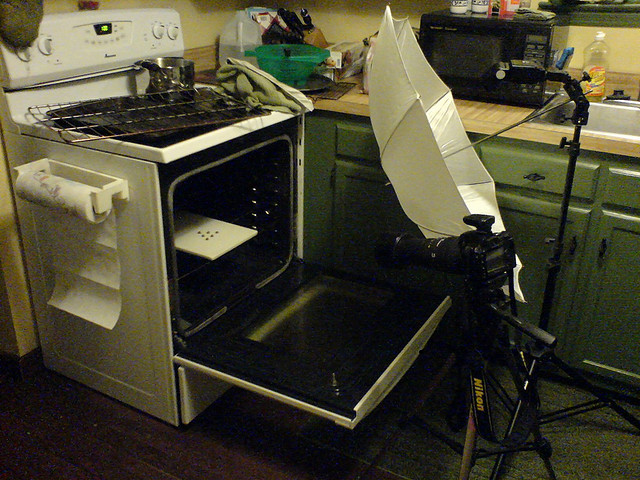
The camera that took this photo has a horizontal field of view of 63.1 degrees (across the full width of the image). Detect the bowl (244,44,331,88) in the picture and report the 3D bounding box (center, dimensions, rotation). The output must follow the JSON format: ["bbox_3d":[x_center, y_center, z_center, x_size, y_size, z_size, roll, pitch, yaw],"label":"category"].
[{"bbox_3d":[-0.105,-0.825,2.372,0.284,0.101,0.292,1,29,-1],"label":"bowl"}]

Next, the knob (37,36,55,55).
[{"bbox_3d":[-0.945,-0.681,1.812,0.018,0.059,0.060,12,28,16],"label":"knob"}]

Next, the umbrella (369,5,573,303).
[{"bbox_3d":[0.435,-0.412,1.894,0.598,0.773,0.498,15,30,23],"label":"umbrella"}]

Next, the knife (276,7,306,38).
[{"bbox_3d":[-0.156,-1.112,2.663,0.042,0.167,0.106,-55,26,-2],"label":"knife"}]

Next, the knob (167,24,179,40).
[{"bbox_3d":[-0.624,-0.897,2.227,0.039,0.062,0.070,7,17,21],"label":"knob"}]
